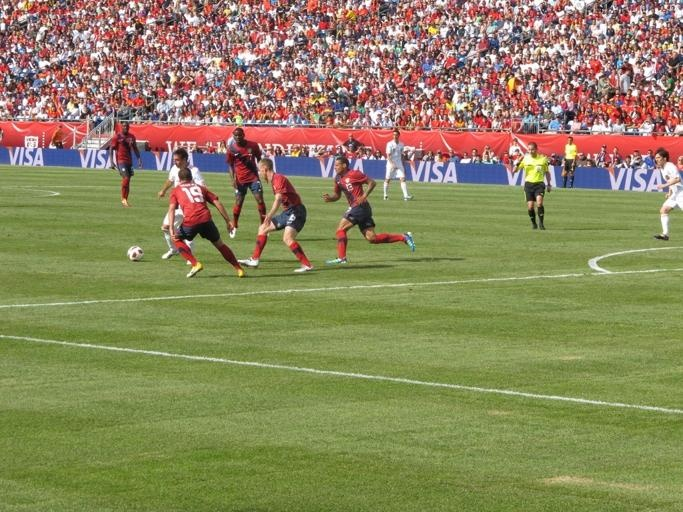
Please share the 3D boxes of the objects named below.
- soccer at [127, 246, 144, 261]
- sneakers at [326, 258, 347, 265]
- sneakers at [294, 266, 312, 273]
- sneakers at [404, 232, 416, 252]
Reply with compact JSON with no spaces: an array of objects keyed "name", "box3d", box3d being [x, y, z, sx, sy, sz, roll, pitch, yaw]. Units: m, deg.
[{"name":"soccer","box3d":[-3.352,-0.066,20.387,0.274,0.232,0.249,-3,-10,3]},{"name":"sneakers","box3d":[-0.075,0.078,20.021,0.347,0.122,0.108,1,8,3]},{"name":"sneakers","box3d":[-0.621,0.199,19.387,0.307,0.111,0.105,1,2,13]},{"name":"sneakers","box3d":[1.064,-0.241,21.348,0.191,0.323,0.227,-11,-5,23]}]
